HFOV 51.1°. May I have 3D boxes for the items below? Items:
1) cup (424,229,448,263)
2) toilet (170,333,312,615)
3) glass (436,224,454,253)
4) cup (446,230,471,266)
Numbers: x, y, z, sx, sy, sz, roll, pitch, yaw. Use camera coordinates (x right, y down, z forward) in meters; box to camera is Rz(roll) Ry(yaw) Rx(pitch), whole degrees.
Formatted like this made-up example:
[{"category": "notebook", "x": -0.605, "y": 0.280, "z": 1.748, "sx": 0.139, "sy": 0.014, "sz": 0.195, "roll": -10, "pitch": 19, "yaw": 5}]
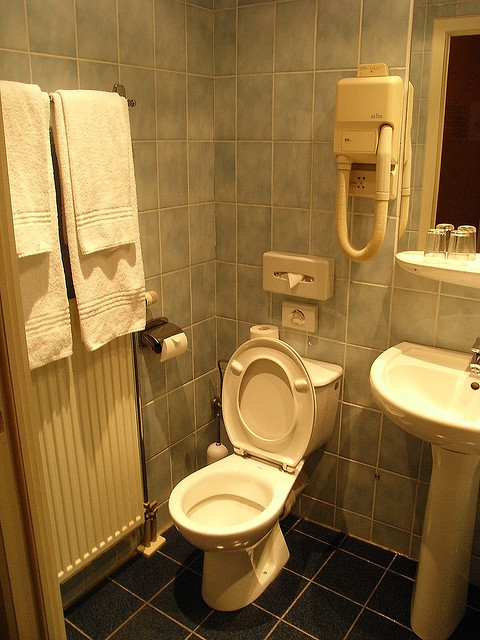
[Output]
[{"category": "cup", "x": 0.590, "y": -0.228, "z": 1.527, "sx": 0.056, "sy": 0.137, "sz": 0.073, "roll": 0, "pitch": 9, "yaw": 2}, {"category": "toilet", "x": -0.002, "y": 0.549, "z": 1.707, "sx": 0.255, "sy": 0.879, "sz": 0.387, "roll": 12, "pitch": 20, "yaw": 34}, {"category": "glass", "x": 0.620, "y": -0.248, "z": 1.524, "sx": 0.049, "sy": 0.150, "sz": 0.059, "roll": 3, "pitch": 8, "yaw": 25}, {"category": "cup", "x": 0.637, "y": -0.214, "z": 1.477, "sx": 0.061, "sy": 0.146, "sz": 0.076, "roll": 2, "pitch": 9, "yaw": 18}]
